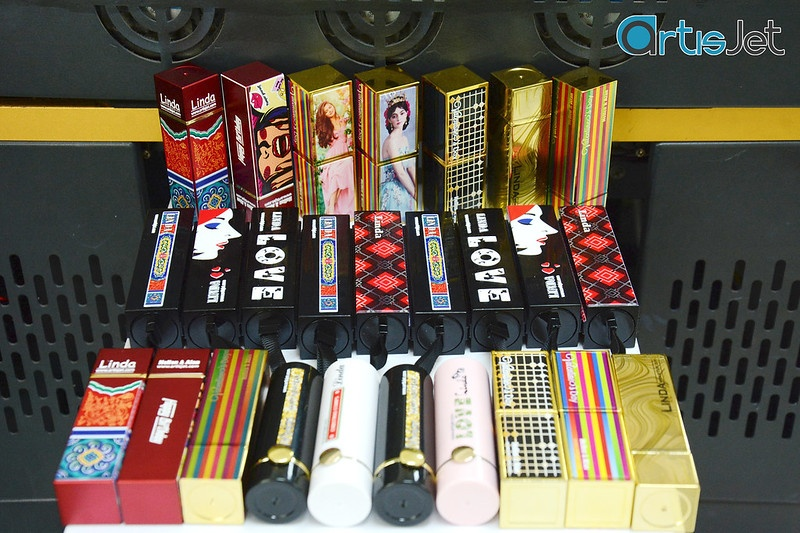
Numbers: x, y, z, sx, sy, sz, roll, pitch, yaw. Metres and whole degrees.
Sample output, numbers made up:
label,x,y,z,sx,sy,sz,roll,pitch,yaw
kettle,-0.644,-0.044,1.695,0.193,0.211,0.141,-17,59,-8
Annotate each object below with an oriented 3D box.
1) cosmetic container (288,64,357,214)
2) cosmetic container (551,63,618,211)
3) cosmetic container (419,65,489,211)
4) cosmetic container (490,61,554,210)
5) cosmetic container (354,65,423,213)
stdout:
label,x,y,z,sx,sy,sz,roll,pitch,yaw
cosmetic container,-0.147,-0.245,1.135,0.132,0.270,0.159,3,-9,-1
cosmetic container,0.343,-0.249,1.132,0.108,0.242,0.156,1,-9,11
cosmetic container,0.108,-0.221,1.161,0.106,0.100,0.288,-16,-47,-15
cosmetic container,0.230,-0.248,1.145,0.118,0.248,0.178,1,-9,10
cosmetic container,-0.023,-0.251,1.114,0.110,0.108,0.330,-31,-39,-25
